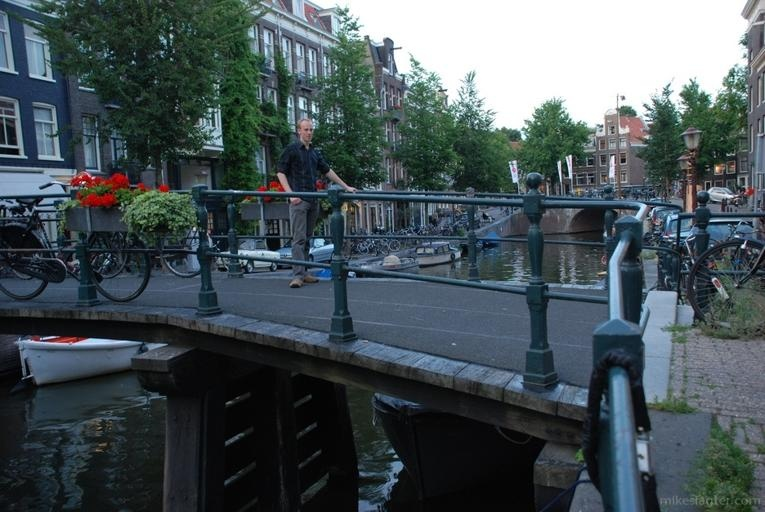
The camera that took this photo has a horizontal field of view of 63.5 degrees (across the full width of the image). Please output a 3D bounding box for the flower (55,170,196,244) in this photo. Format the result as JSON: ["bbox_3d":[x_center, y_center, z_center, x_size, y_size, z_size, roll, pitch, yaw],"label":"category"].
[{"bbox_3d":[-3.416,-0.499,8.504,1.253,0.575,1.275,7,9,25],"label":"flower"}]

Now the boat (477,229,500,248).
[{"bbox_3d":[6.248,-1.038,36.485,1.610,0.774,2.965,6,6,23],"label":"boat"}]

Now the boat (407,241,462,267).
[{"bbox_3d":[2.942,-0.112,33.745,1.174,1.015,3.137,6,9,34],"label":"boat"}]

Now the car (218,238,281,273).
[{"bbox_3d":[-4.026,-0.030,18.657,1.205,0.916,2.033,-3,-5,29],"label":"car"}]
